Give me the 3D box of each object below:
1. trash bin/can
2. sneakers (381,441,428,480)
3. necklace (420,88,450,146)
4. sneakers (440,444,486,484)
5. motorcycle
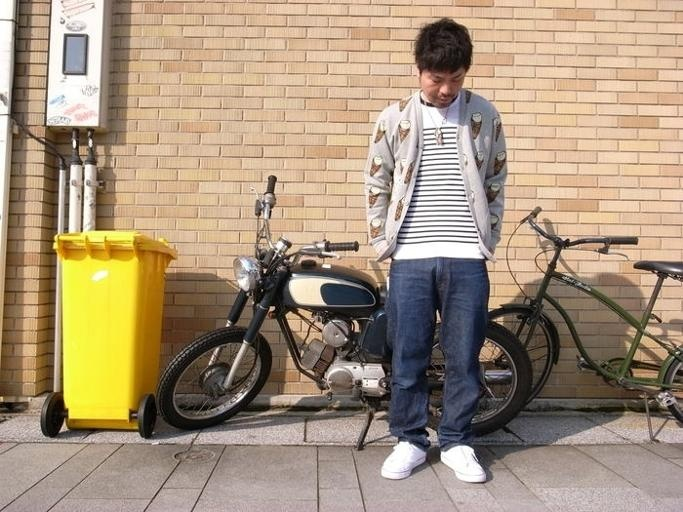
[{"bbox_3d":[-1.813,0.576,6.923,0.825,1.552,0.516,3,9,1],"label":"trash bin/can"},{"bbox_3d":[0.455,1.423,6.492,0.185,0.194,0.454,9,13,35],"label":"sneakers"},{"bbox_3d":[0.638,-1.011,6.511,0.200,0.327,0.318,-3,3,4],"label":"necklace"},{"bbox_3d":[0.867,1.444,6.427,0.175,0.209,0.345,-5,12,-39],"label":"sneakers"},{"bbox_3d":[0.057,0.490,7.063,2.906,1.836,1.134,1,14,-1],"label":"motorcycle"}]
